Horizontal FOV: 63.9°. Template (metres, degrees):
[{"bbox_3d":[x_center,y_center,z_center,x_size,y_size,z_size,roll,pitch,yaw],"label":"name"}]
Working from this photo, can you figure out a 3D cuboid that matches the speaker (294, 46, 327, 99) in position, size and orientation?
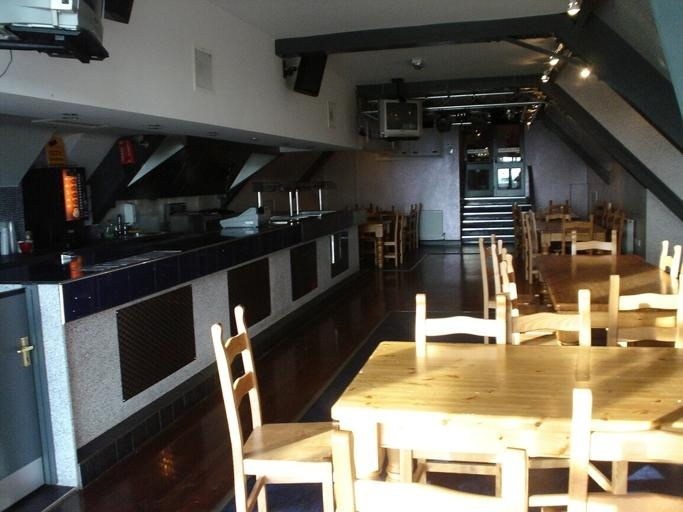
[{"bbox_3d":[-0.370,-2.272,6.836,0.241,0.464,0.529,2,11,37],"label":"speaker"}]

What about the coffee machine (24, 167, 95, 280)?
[{"bbox_3d":[-2.971,-0.493,5.758,0.653,0.879,0.412,-12,11,-39],"label":"coffee machine"}]

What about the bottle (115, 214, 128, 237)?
[{"bbox_3d":[-2.674,-0.359,6.667,0.098,0.269,0.191,-7,-6,18],"label":"bottle"}]

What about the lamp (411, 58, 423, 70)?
[{"bbox_3d":[1.056,-2.662,7.675,0.141,0.188,0.173,2,15,5],"label":"lamp"}]

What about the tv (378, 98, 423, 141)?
[{"bbox_3d":[0.910,-2.199,9.206,0.948,0.849,0.524,-1,10,-7],"label":"tv"}]
